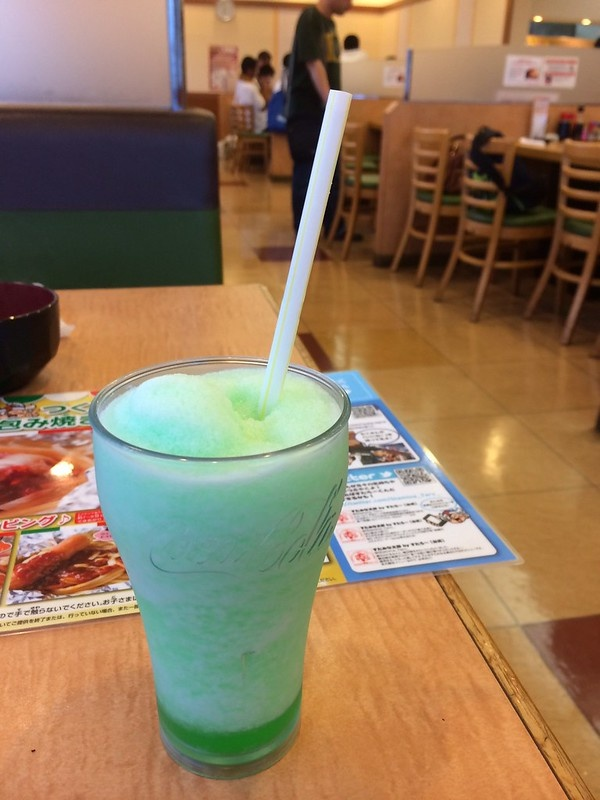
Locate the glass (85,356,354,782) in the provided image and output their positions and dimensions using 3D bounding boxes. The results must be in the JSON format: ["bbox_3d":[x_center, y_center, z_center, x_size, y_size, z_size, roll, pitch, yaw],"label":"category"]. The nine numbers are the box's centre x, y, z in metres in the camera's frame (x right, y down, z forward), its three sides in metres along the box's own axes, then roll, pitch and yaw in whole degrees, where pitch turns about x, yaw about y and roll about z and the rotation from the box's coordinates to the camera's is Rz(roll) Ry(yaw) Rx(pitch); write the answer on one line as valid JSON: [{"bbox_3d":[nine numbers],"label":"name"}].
[{"bbox_3d":[-0.036,0.085,0.335,0.111,0.186,0.095,-6,29,-19],"label":"glass"}]
